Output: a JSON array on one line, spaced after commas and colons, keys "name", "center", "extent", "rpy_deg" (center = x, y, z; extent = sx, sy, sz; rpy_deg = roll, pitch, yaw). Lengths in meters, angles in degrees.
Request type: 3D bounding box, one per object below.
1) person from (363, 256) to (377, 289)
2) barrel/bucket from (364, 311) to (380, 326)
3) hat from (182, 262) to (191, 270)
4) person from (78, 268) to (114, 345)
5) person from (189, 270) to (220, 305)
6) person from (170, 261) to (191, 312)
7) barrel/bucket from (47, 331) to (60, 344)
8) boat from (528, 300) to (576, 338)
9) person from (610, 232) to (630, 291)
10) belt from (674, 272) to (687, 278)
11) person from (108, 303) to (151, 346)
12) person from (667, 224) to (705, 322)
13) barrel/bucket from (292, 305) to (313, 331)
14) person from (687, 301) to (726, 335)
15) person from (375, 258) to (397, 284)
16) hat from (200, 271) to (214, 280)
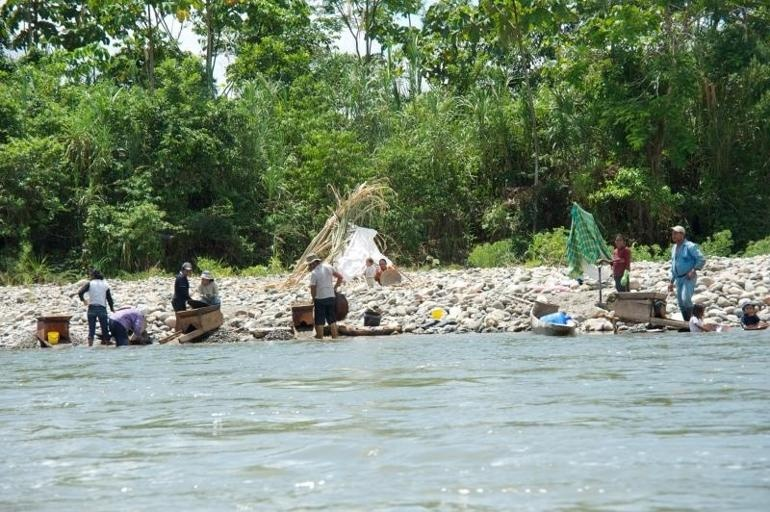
[{"name": "person", "center": [-0.512, 0.617, 40.170], "extent": [0.465, 1.110, 0.841], "rpy_deg": [-4, -4, 1]}, {"name": "barrel/bucket", "center": [-0.409, 2.081, 36.613], "extent": [0.463, 0.332, 0.439], "rpy_deg": [2, -5, 0]}, {"name": "hat", "center": [-6.423, 0.372, 36.685], "extent": [0.258, 0.239, 0.190], "rpy_deg": [-21, 34, -38]}, {"name": "person", "center": [-9.116, 1.671, 35.894], "extent": [0.949, 2.374, 0.881], "rpy_deg": [-3, -4, -13]}, {"name": "person", "center": [-5.736, 1.099, 36.342], "extent": [1.029, 1.050, 1.089], "rpy_deg": [-3, 12, 4]}, {"name": "person", "center": [-6.524, 1.024, 36.328], "extent": [0.634, 1.606, 1.204], "rpy_deg": [-3, -4, -13]}, {"name": "barrel/bucket", "center": [-10.340, 2.646, 35.630], "extent": [0.512, 0.435, 0.350], "rpy_deg": [1, -9, -9]}, {"name": "boat", "center": [5.188, 2.048, 35.491], "extent": [1.104, 0.640, 2.084], "rpy_deg": [3, 16, -7]}, {"name": "person", "center": [7.498, 0.274, 36.227], "extent": [0.579, 1.794, 1.488], "rpy_deg": [-5, -4, 11]}, {"name": "belt", "center": [8.771, 0.619, 33.875], "extent": [0.122, 0.141, 0.531], "rpy_deg": [-2, -5, -32]}, {"name": "person", "center": [-8.113, 2.322, 36.069], "extent": [1.273, 1.374, 1.111], "rpy_deg": [-2, 15, -36]}, {"name": "person", "center": [9.050, 0.531, 34.172], "extent": [0.974, 2.926, 1.471], "rpy_deg": [-5, -4, 13]}, {"name": "barrel/bucket", "center": [-2.624, 2.011, 36.103], "extent": [0.825, 0.720, 0.797], "rpy_deg": [-2, 0, 0]}, {"name": "person", "center": [9.758, 1.956, 34.412], "extent": [1.068, 0.950, 0.752], "rpy_deg": [-1, 0, -5]}, {"name": "person", "center": [0.066, 0.591, 40.494], "extent": [0.810, 0.996, 0.498], "rpy_deg": [-2, -4, -30]}, {"name": "hat", "center": [-5.719, 0.664, 36.224], "extent": [0.416, 0.200, 0.383], "rpy_deg": [18, -5, -5]}]
